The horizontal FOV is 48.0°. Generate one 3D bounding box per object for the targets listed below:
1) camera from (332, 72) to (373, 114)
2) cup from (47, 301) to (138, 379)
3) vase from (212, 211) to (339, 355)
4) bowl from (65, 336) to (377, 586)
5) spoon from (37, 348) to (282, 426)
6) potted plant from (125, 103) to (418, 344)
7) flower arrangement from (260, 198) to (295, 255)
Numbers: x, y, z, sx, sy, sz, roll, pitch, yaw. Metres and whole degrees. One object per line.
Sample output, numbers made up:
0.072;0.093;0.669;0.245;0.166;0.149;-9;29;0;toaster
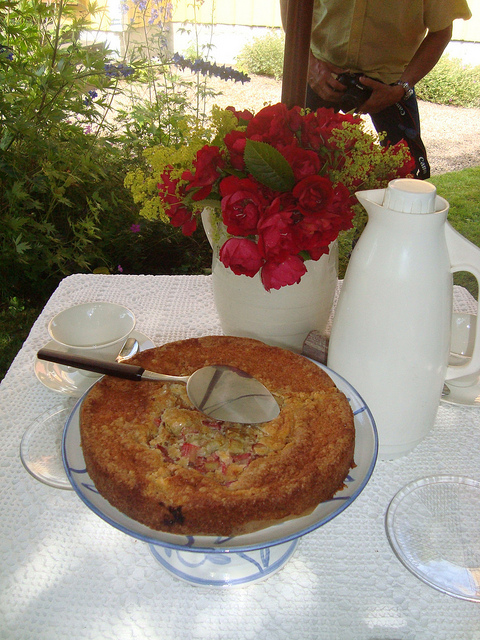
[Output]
0.453;-0.921;2.120;0.141;0.106;0.079;-23;51;-12;camera
-0.257;0.038;0.969;0.180;0.085;0.164;4;20;-1;cup
0.068;-0.057;1.030;0.244;0.303;0.221;-3;43;-2;vase
-0.026;0.138;0.716;0.397;0.088;0.396;3;21;-1;bowl
-0.106;0.080;0.724;0.329;0.024;0.090;14;31;0;spoon
0.028;-0.155;0.908;0.452;0.395;0.340;12;24;17;potted plant
0.049;-0.127;0.741;0.031;0.075;0.045;19;28;29;flower arrangement
